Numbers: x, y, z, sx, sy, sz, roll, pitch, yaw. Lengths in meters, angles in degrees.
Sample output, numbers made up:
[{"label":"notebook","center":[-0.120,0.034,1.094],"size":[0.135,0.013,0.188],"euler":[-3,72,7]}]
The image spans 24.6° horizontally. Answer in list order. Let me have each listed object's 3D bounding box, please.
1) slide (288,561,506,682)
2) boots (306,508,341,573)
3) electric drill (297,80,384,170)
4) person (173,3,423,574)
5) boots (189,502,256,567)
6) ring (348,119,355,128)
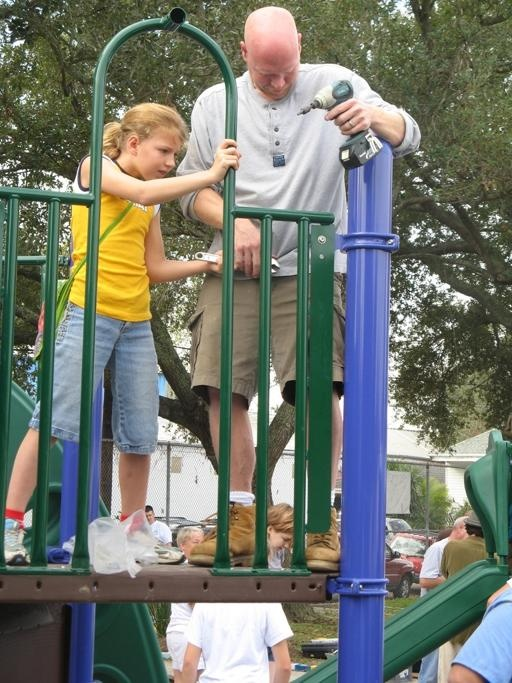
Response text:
[{"label":"slide","center":[0.441,0.780,3.612],"size":[0.485,0.415,0.472],"euler":[0,-2,-19]},{"label":"boots","center":[0.180,0.512,3.156],"size":[0.090,0.153,0.303],"euler":[2,1,3]},{"label":"electric drill","center":[0.233,-0.565,3.182],"size":[0.223,0.232,0.267],"euler":[-3,0,-7]},{"label":"person","center":[0.086,-0.203,3.491],"size":[0.648,1.604,0.965],"euler":[1,2,-28]},{"label":"boots","center":[-0.056,0.522,3.174],"size":[0.192,0.162,0.349],"euler":[6,-14,-14]},{"label":"ring","center":[0.257,-0.584,3.135],"size":[0.016,0.017,0.004],"euler":[-26,20,-38]}]
